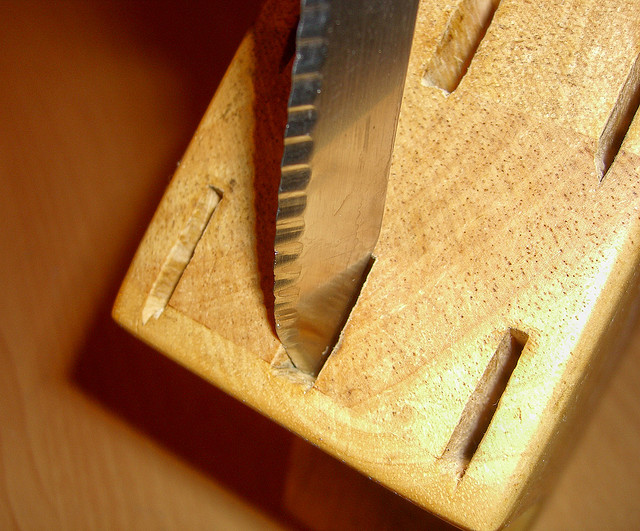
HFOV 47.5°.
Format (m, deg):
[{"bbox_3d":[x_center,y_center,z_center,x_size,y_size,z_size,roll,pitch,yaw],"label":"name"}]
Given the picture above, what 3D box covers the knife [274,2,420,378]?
[{"bbox_3d":[0.009,-0.060,0.603,0.132,0.332,0.043,-1,18,-45],"label":"knife"}]
